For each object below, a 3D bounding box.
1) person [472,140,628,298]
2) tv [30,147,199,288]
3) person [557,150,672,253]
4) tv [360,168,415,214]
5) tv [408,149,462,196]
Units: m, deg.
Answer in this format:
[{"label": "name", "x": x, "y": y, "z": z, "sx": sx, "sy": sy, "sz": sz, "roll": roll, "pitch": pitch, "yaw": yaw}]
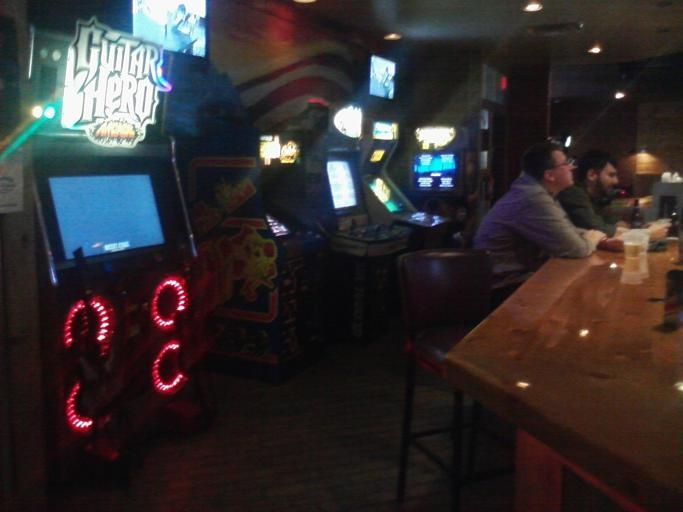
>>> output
[{"label": "person", "x": 1.128, "y": -0.077, "z": 3.192, "sx": 0.743, "sy": 1.086, "sz": 0.562, "roll": 4, "pitch": 21, "yaw": 24}, {"label": "tv", "x": -1.061, "y": -0.198, "z": 2.486, "sx": 0.317, "sy": 0.592, "sz": 0.862, "roll": 1, "pitch": 10, "yaw": 22}, {"label": "person", "x": 1.809, "y": -0.367, "z": 3.585, "sx": 0.816, "sy": 0.596, "sz": 0.505, "roll": 2, "pitch": 6, "yaw": 31}, {"label": "tv", "x": 0.465, "y": -0.589, "z": 5.039, "sx": 0.415, "sy": 0.352, "sz": 0.442, "roll": 3, "pitch": 14, "yaw": 15}, {"label": "tv", "x": 1.234, "y": -1.058, "z": 6.794, "sx": 0.699, "sy": 0.529, "sz": 0.384, "roll": 4, "pitch": 6, "yaw": 26}]
